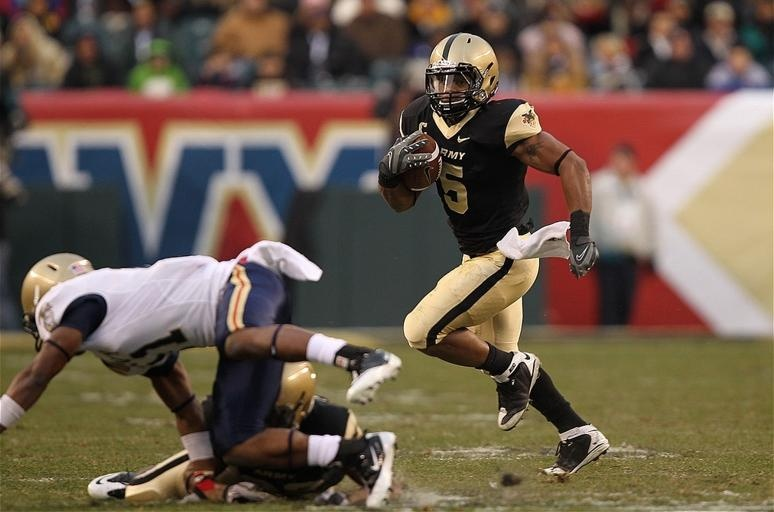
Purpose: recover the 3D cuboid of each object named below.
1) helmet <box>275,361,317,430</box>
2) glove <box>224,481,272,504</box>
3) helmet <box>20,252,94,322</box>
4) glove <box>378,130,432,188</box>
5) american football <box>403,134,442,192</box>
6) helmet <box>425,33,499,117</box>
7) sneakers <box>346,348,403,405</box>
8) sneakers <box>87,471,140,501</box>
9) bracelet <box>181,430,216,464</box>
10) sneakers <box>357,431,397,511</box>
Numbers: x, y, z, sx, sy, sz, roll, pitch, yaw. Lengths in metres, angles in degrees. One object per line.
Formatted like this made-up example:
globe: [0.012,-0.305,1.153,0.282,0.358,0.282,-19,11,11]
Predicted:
helmet: [-0.581,0.890,7.734,0.391,0.344,0.297,1,5,-11]
glove: [-0.904,1.522,7.737,0.178,0.074,0.151,6,-5,-42]
helmet: [-2.191,0.201,7.980,0.474,0.446,0.361,6,-16,14]
glove: [0.133,-0.652,8.147,0.367,0.381,0.211,0,11,0]
american football: [0.208,-0.621,8.312,0.400,0.405,0.328,-7,3,-3]
helmet: [0.527,-1.298,8.496,0.497,0.596,0.638,9,22,37]
sneakers: [-0.082,0.741,7.467,0.402,0.225,0.181,-34,-14,0]
sneakers: [-1.793,1.501,7.850,0.238,0.094,0.164,-2,3,-4]
bracelet: [-1.227,1.250,7.860,0.171,0.162,0.190,-28,-15,7]
sneakers: [-0.053,1.338,7.558,0.230,0.508,0.174,-1,3,10]
